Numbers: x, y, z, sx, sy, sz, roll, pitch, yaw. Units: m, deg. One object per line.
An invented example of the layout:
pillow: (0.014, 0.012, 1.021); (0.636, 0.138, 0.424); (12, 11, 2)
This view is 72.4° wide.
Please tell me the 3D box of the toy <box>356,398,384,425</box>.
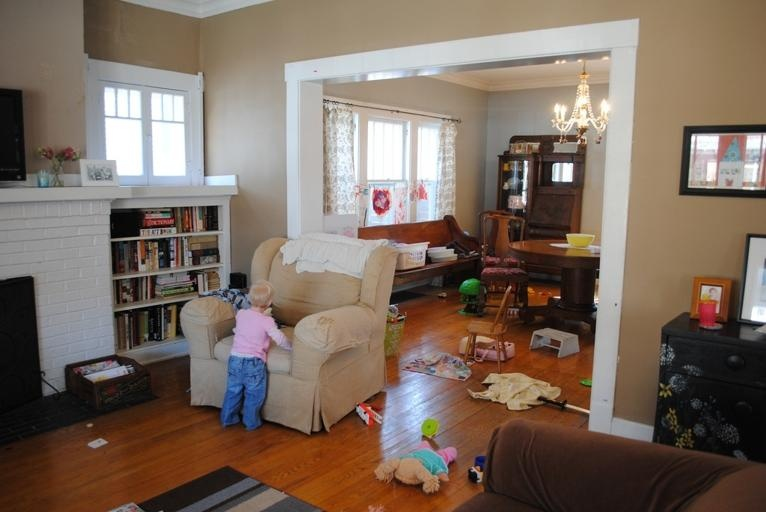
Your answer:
toy: (-0.101, 1.181, 3.969); (0.162, 0.062, 0.123); (31, 23, -2)

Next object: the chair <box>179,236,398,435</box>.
chair: (-0.620, 0.457, 4.456); (1.496, 1.311, 1.507); (3, 5, 30)

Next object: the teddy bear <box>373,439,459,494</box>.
teddy bear: (0.223, 1.343, 3.431); (0.435, 0.135, 0.422); (6, 14, 21)

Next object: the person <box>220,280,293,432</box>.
person: (-0.943, 0.724, 3.811); (0.504, 1.074, 0.212); (-4, 15, -19)

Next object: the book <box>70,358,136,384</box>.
book: (-2.258, 0.949, 4.264); (0.412, 0.073, 0.412); (-11, 18, -41)

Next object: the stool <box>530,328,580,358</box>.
stool: (1.793, 0.877, 5.422); (0.418, 0.200, 0.431); (13, 18, 42)

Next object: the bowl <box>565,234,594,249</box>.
bowl: (2.099, -0.161, 5.655); (0.224, 0.096, 0.219); (0, 0, 0)

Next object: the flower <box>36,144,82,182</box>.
flower: (-2.731, -0.765, 4.486); (0.333, 0.320, 0.318); (3, 4, 1)

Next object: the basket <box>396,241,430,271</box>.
basket: (0.382, 0.006, 6.650); (0.300, 0.213, 0.421); (8, 13, 37)

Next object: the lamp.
lamp: (2.578, -1.970, 6.754); (0.610, 1.081, 2.746); (6, 14, 21)

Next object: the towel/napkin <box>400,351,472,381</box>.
towel/napkin: (0.531, 0.993, 4.947); (0.653, 0.089, 0.494); (7, 14, 23)

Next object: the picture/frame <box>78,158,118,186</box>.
picture/frame: (-2.468, -0.721, 4.531); (0.014, 0.204, 0.269); (-4, 1, 41)

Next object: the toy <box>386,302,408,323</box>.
toy: (0.115, 0.592, 5.144); (0.220, 0.103, 0.254); (4, 13, 8)

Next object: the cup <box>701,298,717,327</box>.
cup: (2.015, 0.347, 3.244); (0.096, 0.142, 0.211); (9, 16, 31)
